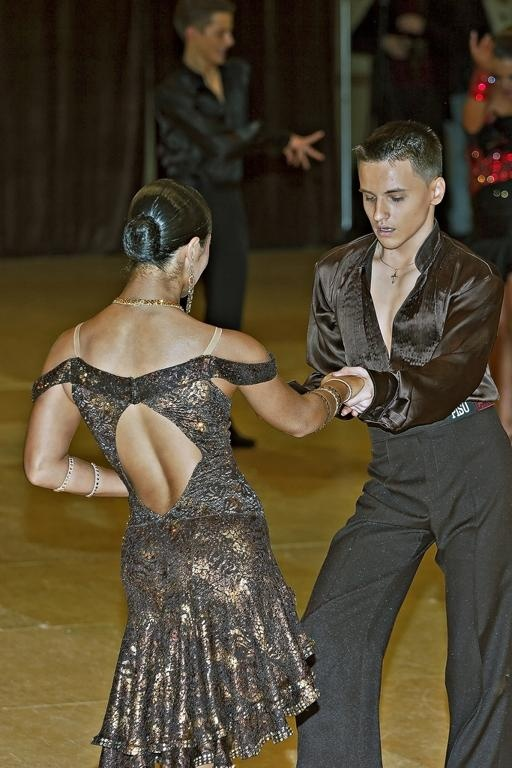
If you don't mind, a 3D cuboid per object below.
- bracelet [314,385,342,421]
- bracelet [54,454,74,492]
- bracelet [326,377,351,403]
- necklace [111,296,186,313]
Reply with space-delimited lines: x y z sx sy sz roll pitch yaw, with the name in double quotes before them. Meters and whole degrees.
"bracelet" 0.130 0.040 1.430 0.035 0.063 0.056 -35 64 -29
"bracelet" -0.326 0.160 1.304 0.014 0.051 0.054 10 33 10
"bracelet" 0.155 0.013 1.459 0.052 0.042 0.036 2 -9 -13
"necklace" -0.157 -0.119 1.135 0.111 0.021 0.086 -1 6 -9
